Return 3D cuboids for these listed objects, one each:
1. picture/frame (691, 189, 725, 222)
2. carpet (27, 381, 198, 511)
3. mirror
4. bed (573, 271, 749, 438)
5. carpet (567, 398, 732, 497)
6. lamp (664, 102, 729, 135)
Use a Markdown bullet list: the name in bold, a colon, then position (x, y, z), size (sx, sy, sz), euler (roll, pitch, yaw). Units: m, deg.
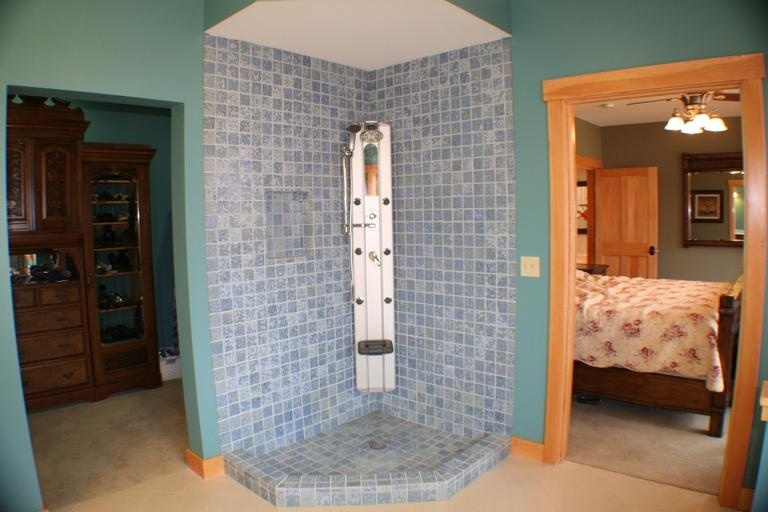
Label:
- **picture/frame**: position (5.295, -0.823, 8.648), size (0.655, 0.637, 0.056), euler (0, -3, 32)
- **carpet**: position (-2.651, 1.793, 5.175), size (1.263, 0.054, 1.716), euler (-9, 14, -34)
- **mirror**: position (5.267, -0.891, 8.587), size (0.944, 1.530, 0.440), euler (5, 16, 21)
- **bed**: position (2.948, 0.889, 5.647), size (1.902, 0.790, 1.853), euler (2, 8, 31)
- **carpet**: position (2.473, 1.733, 5.097), size (1.383, 0.034, 1.443), euler (5, 13, 26)
- **lamp**: position (3.982, -1.765, 6.746), size (0.866, 0.287, 0.832), euler (1, 9, 30)
